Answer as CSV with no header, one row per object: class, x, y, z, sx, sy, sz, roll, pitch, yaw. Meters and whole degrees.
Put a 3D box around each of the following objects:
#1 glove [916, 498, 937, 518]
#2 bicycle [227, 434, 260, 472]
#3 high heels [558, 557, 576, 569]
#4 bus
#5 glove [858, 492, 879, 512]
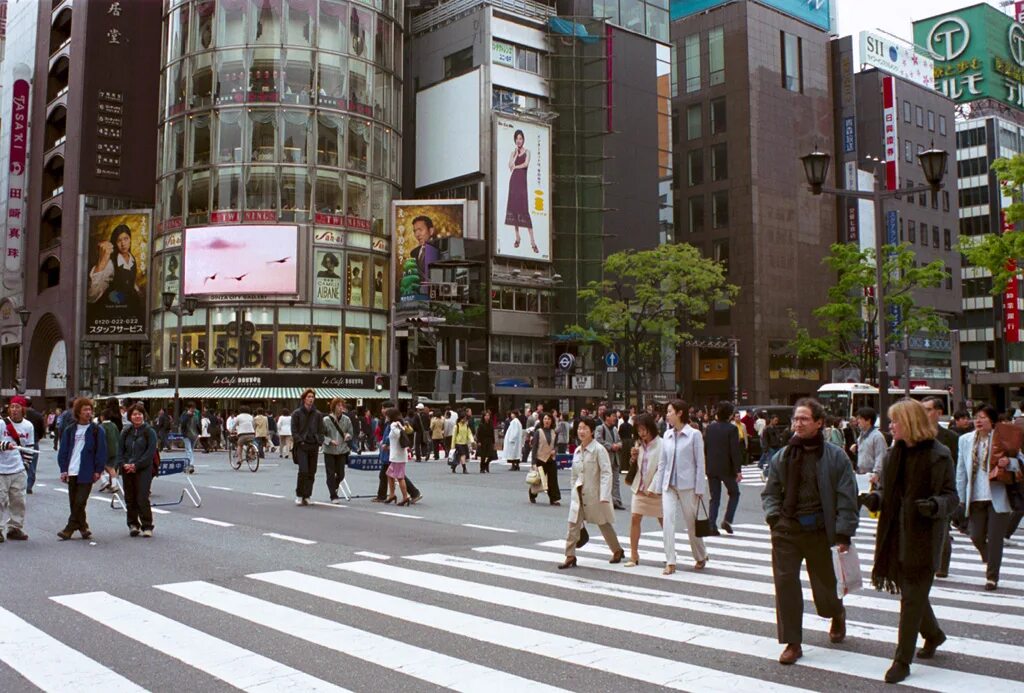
glove,5.927,2.278,14.961,0.193,0.266,0.251,11,-25,31
bicycle,-9.042,3.584,35.472,1.901,1.183,0.888,-1,-3,44
high heels,1.047,4.002,19.261,0.400,0.211,0.140,0,-11,15
bus,12.451,1.927,35.590,2.663,2.360,6.545,6,-3,-3
glove,5.300,2.297,15.534,0.309,0.274,0.468,0,-6,19
